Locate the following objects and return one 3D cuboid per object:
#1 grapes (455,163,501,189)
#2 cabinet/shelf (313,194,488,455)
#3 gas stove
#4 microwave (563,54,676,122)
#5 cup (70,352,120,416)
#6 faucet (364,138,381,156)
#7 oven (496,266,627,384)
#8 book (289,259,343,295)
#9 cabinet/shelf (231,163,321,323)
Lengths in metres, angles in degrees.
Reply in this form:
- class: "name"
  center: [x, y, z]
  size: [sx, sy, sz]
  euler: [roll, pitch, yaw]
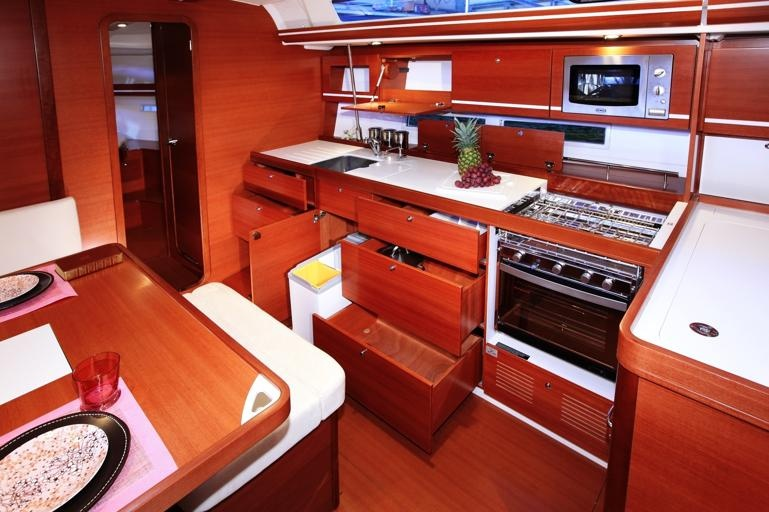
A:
- class: "grapes"
  center: [0.531, -0.449, 2.794]
  size: [0.152, 0.081, 0.214]
  euler: [15, 29, 36]
- class: "cabinet/shelf"
  center: [0.103, 0.310, 2.861]
  size: [0.952, 1.095, 0.740]
  euler: [20, 31, 34]
- class: "gas stove"
  center: [1.052, -0.221, 2.518]
  size: [0.691, 0.061, 0.510]
  euler: [20, 30, 35]
- class: "microwave"
  center: [1.324, -0.974, 2.714]
  size: [0.581, 0.339, 0.323]
  euler: [19, 44, 40]
- class: "cup"
  center: [-0.953, 0.420, 1.646]
  size: [0.141, 0.151, 0.126]
  euler: [-13, 29, -27]
- class: "faucet"
  center: [-0.062, -0.787, 3.536]
  size: [0.068, 0.110, 0.113]
  euler: [-13, 29, -27]
- class: "oven"
  center: [1.053, 0.294, 2.635]
  size: [0.515, 0.462, 0.741]
  euler: [-1, 14, -41]
- class: "book"
  center: [-0.411, 0.128, 3.256]
  size: [0.217, 0.054, 0.231]
  euler: [24, 40, 31]
- class: "cabinet/shelf"
  center: [-0.889, -0.109, 3.432]
  size: [0.472, 0.631, 0.684]
  euler: [30, 43, 28]
